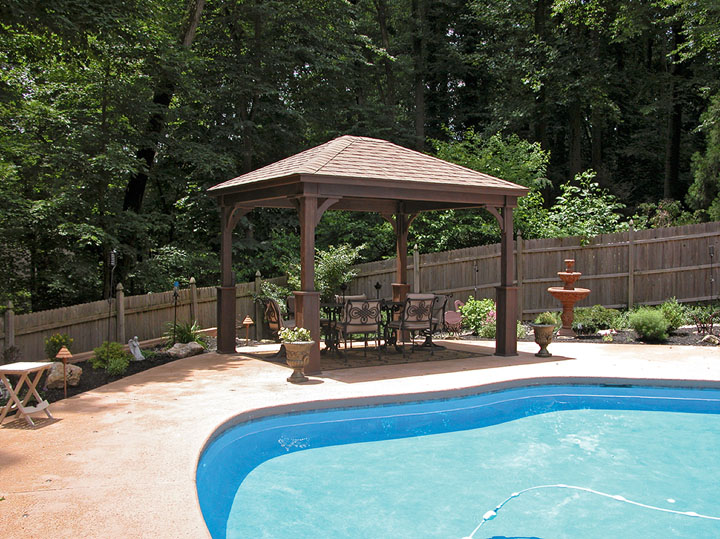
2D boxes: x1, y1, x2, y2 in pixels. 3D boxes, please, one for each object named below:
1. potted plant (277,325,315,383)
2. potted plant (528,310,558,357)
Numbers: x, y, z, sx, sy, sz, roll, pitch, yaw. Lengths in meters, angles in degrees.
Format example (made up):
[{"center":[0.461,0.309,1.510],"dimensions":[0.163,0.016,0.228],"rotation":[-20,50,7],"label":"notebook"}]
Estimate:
[{"center":[-1.066,1.451,12.412],"dimensions":[0.806,1.067,0.823],"rotation":[0,-4,-7],"label":"potted plant"},{"center":[3.909,1.302,14.877],"dimensions":[0.793,0.960,0.962],"rotation":[2,-3,-5],"label":"potted plant"}]
